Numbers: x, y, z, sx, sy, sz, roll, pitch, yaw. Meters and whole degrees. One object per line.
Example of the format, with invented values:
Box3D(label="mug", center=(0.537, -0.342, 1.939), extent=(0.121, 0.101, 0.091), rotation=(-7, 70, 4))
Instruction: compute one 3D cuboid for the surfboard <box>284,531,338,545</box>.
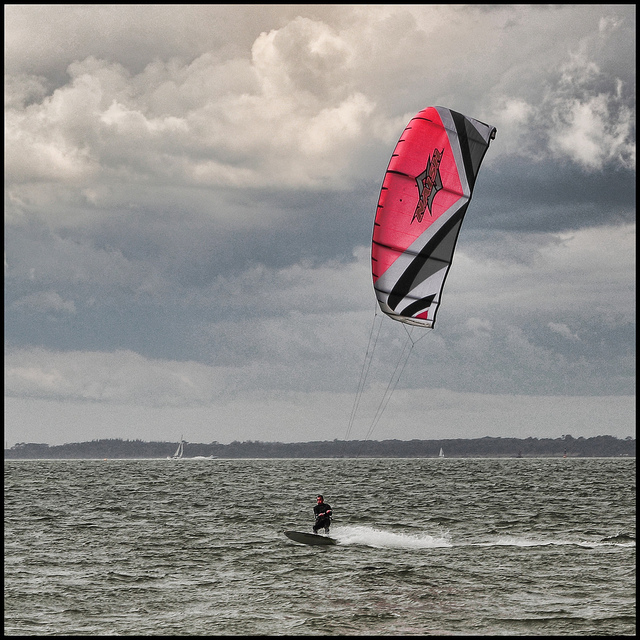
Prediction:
Box3D(label="surfboard", center=(-0.261, 8.553, 51.688), extent=(2.245, 0.398, 0.620), rotation=(-2, -3, 43))

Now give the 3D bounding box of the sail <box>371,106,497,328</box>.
Box3D(label="sail", center=(3.830, -4.352, 43.015), extent=(2.724, 7.629, 2.039), rotation=(24, -41, 3))
